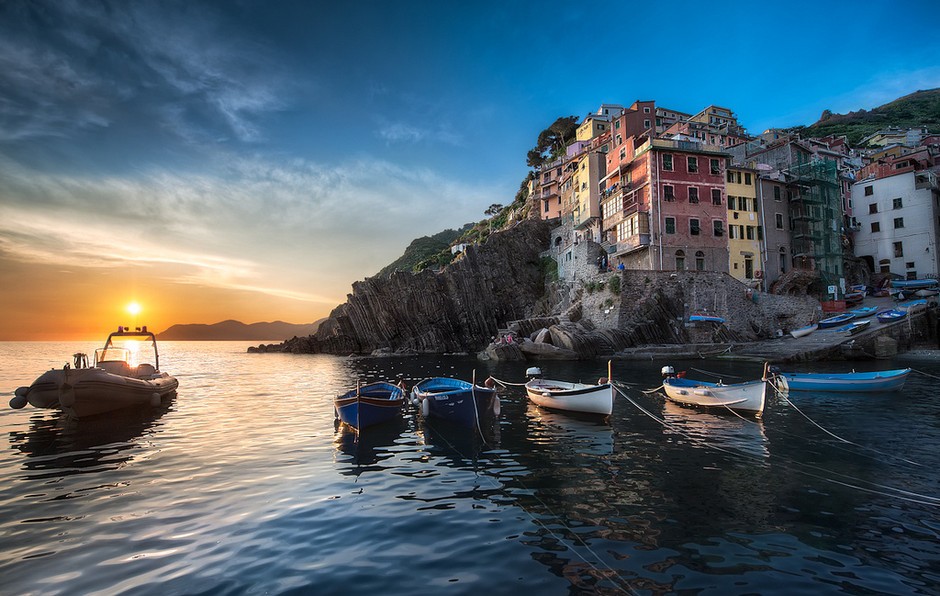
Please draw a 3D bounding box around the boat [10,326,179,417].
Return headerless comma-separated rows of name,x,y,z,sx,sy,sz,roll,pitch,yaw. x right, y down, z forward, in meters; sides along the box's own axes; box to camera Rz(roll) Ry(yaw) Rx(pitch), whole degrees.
boat,-23.419,4.757,31.150,6.622,6.696,7.244,-6,11,-24
